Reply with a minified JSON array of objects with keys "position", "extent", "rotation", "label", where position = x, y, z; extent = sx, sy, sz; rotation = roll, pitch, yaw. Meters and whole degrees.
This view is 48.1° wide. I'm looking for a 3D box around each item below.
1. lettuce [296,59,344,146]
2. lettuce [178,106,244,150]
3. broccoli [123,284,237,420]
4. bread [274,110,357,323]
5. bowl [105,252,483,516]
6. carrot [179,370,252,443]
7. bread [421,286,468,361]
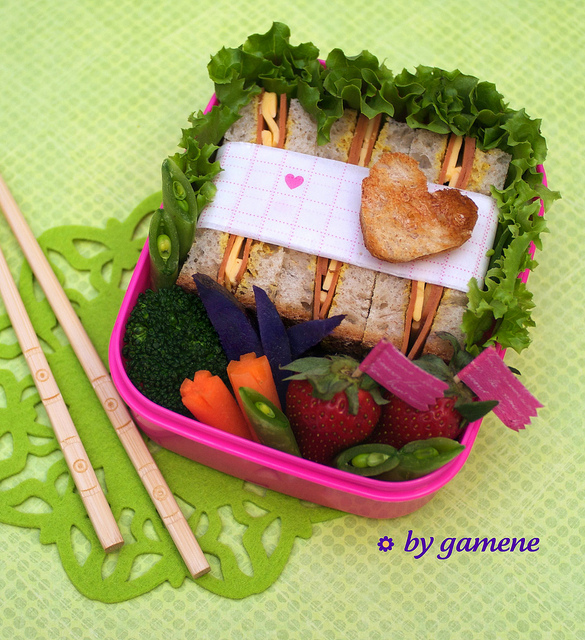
[{"position":[0.091,-0.589,1.836],"extent":[0.108,0.242,0.145],"rotation":[-30,46,-32],"label":"lettuce"},{"position":[-0.227,-0.547,1.870],"extent":[0.241,0.191,0.087],"rotation":[5,94,37],"label":"lettuce"},{"position":[-0.317,0.091,1.695],"extent":[0.360,0.111,0.323],"rotation":[10,76,-20],"label":"broccoli"},{"position":[0.068,-0.276,1.833],"extent":[0.186,0.530,0.337],"rotation":[-38,49,-28],"label":"bread"},{"position":[-0.092,0.339,1.891],"extent":[0.923,0.243,0.786],"rotation":[19,70,1],"label":"bowl"},{"position":[-0.163,0.235,1.739],"extent":[0.126,0.310,0.092],"rotation":[-14,43,6],"label":"carrot"},{"position":[0.403,0.005,1.732],"extent":[0.136,0.048,0.172],"rotation":[15,104,15],"label":"bread"}]
